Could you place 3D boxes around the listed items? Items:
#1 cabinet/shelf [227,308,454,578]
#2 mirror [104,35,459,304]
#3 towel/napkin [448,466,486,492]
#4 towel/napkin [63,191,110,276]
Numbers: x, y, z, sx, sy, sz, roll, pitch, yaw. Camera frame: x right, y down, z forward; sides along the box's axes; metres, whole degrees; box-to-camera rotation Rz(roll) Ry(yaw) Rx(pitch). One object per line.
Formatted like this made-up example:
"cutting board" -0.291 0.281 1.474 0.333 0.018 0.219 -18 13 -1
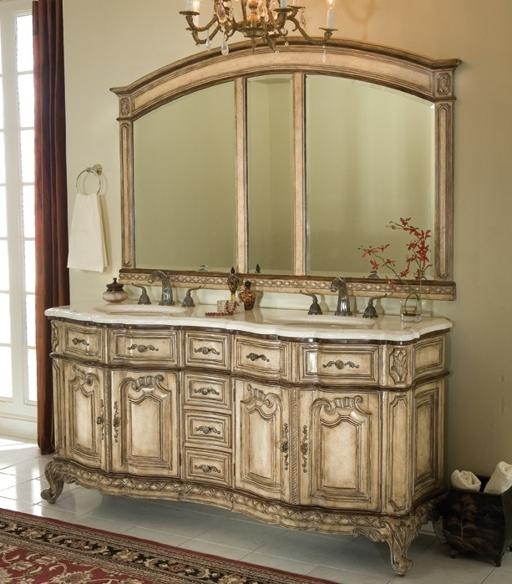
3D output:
"cabinet/shelf" 0.409 0.552 3.209 1.335 1.139 0.915 0 1 27
"mirror" 0.061 -0.609 3.493 1.881 1.245 0.131 4 7 27
"towel/napkin" 0.876 0.778 2.954 0.099 0.048 0.116 -1 8 -11
"towel/napkin" -0.949 -0.340 4.044 0.247 0.442 0.097 4 7 34
